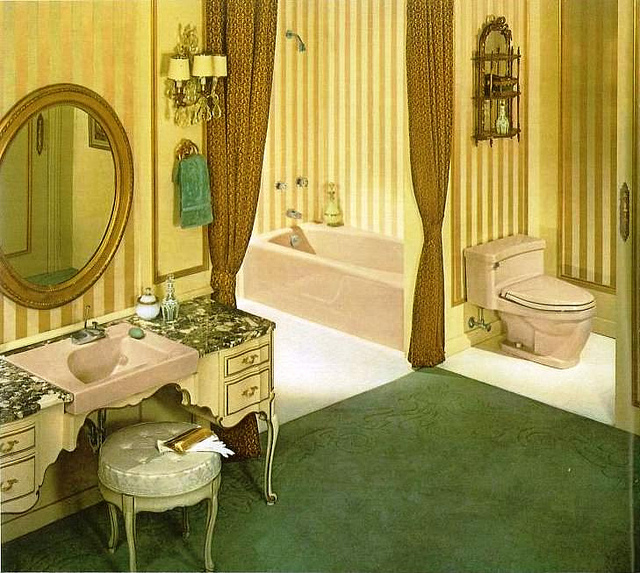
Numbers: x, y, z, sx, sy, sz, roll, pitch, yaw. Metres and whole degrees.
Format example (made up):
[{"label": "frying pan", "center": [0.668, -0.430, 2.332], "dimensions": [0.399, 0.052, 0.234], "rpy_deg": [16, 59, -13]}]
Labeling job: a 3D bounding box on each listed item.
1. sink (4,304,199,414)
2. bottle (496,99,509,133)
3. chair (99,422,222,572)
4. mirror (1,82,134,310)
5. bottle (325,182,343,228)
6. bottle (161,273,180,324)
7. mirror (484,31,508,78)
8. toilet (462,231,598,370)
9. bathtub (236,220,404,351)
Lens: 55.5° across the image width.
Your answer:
[{"label": "sink", "center": [-0.827, 0.278, 2.315], "dimensions": [0.546, 0.244, 0.549], "rpy_deg": [12, 18, 36]}, {"label": "bottle", "center": [1.360, -1.265, 4.501], "dimensions": [0.077, 0.239, 0.150], "rpy_deg": [8, 15, 31]}, {"label": "chair", "center": [-0.550, 0.654, 2.315], "dimensions": [0.486, 0.588, 0.503], "rpy_deg": [-3, 8, -21]}, {"label": "mirror", "center": [-1.000, -0.359, 2.431], "dimensions": [0.055, 0.867, 0.619], "rpy_deg": [8, 15, 30]}, {"label": "bottle", "center": [0.132, -0.764, 5.645], "dimensions": [0.165, 0.384, 0.307], "rpy_deg": [1, 13, 2]}, {"label": "bottle", "center": [-0.669, 0.049, 2.717], "dimensions": [0.074, 0.188, 0.166], "rpy_deg": [-2, 14, -13]}, {"label": "mirror", "center": [1.280, -1.713, 4.440], "dimensions": [0.292, 0.440, 0.010], "rpy_deg": [-18, 25, -40]}, {"label": "toilet", "center": [1.580, 0.122, 4.384], "dimensions": [0.631, 0.775, 0.909], "rpy_deg": [-12, 17, -22]}, {"label": "bathtub", "center": [0.262, -0.039, 5.314], "dimensions": [1.830, 0.510, 1.019], "rpy_deg": [17, 15, 37]}]
